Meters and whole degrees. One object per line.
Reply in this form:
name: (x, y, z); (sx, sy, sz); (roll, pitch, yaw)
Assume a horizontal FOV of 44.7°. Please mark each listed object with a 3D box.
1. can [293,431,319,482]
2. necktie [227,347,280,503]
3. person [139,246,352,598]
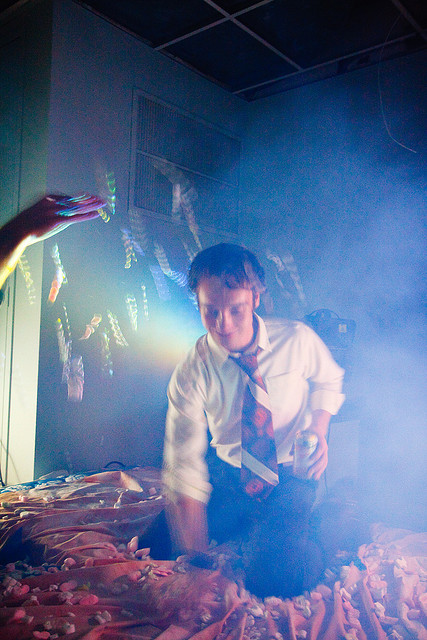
can: (0.406, 0.608, 2.318); (0.127, 0.261, 0.129); (-1, -11, 0)
necktie: (0.182, 0.481, 2.322); (0.202, 0.927, 0.068); (-7, 26, 1)
person: (0.168, 0.329, 2.373); (0.965, 1.268, 0.975); (8, 9, 25)
